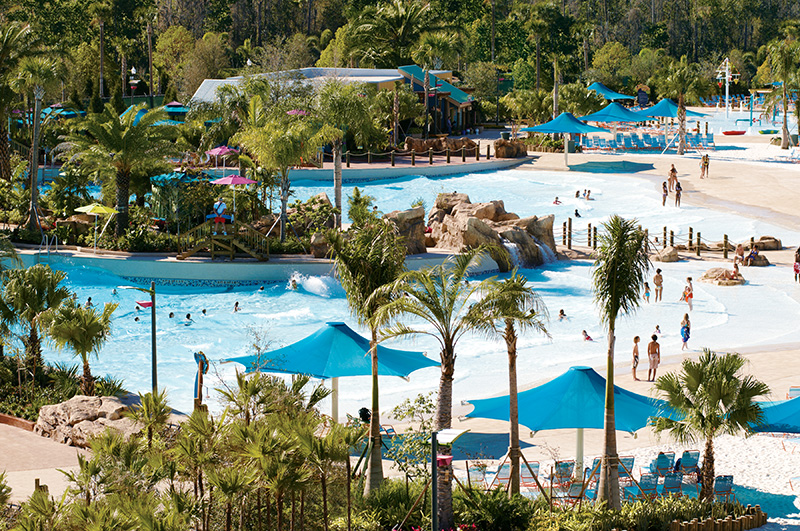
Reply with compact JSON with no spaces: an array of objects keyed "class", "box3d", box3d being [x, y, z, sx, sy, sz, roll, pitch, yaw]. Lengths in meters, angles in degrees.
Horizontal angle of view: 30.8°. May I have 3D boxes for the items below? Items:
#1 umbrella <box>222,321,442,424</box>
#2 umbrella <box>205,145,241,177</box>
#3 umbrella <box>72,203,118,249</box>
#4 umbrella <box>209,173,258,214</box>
[{"class":"umbrella","box3d":[-2.273,3.357,54.352,4.259,2.246,4.837,1,0,18]},{"class":"umbrella","box3d":[-9.816,-5.721,79.745,1.706,1.883,1.892,2,22,3]},{"class":"umbrella","box3d":[-15.222,-1.868,73.002,1.998,2.547,2.236,10,21,18]},{"class":"umbrella","box3d":[-8.196,-3.417,71.219,1.803,2.007,1.919,0,14,1]}]
